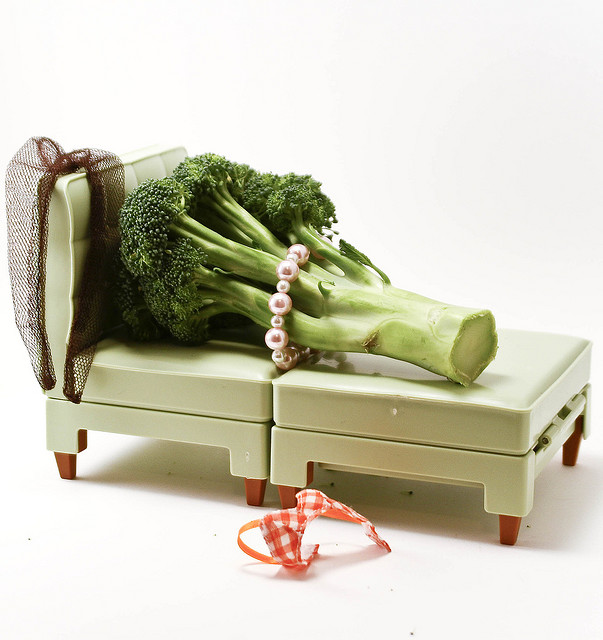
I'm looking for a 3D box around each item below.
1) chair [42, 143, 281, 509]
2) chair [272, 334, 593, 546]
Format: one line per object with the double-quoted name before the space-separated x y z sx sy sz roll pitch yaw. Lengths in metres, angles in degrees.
"chair" -0.421 0.184 2.735 0.926 0.972 0.828 4 -5 22
"chair" 0.444 0.278 2.235 0.925 0.410 0.852 3 10 23
